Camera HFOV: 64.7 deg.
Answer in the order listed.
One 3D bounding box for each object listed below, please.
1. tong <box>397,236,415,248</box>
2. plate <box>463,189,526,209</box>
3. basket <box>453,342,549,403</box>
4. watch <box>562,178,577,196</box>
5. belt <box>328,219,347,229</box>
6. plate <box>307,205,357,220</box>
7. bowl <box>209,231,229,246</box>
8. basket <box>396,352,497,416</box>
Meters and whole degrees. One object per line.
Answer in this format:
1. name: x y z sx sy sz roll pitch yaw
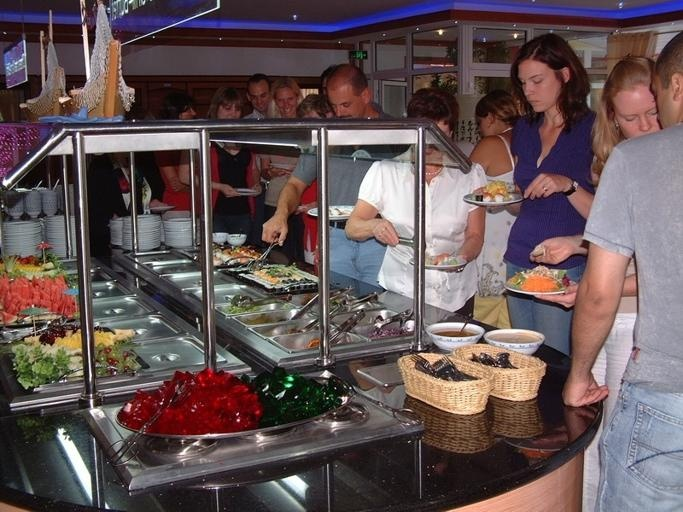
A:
1. tong: 0.243 -0.051 2.036 0.041 0.020 0.079 -6 4 -12
2. plate: 0.615 -0.227 2.200 0.232 0.054 0.251 1 9 12
3. basket: 0.453 0.309 1.493 0.151 0.065 0.206 -7 9 -27
4. watch: 0.974 -0.296 2.362 0.061 0.062 0.060 -43 17 40
5. belt: -0.019 -0.150 2.535 0.080 0.067 0.219 -2 8 -1
6. plate: -0.062 -0.175 2.345 0.134 0.077 0.330 2 9 21
7. bowl: -0.673 -0.090 2.957 0.142 0.086 0.124 0 2 0
8. basket: 0.271 0.321 1.408 0.156 0.064 0.208 -6 8 -31
